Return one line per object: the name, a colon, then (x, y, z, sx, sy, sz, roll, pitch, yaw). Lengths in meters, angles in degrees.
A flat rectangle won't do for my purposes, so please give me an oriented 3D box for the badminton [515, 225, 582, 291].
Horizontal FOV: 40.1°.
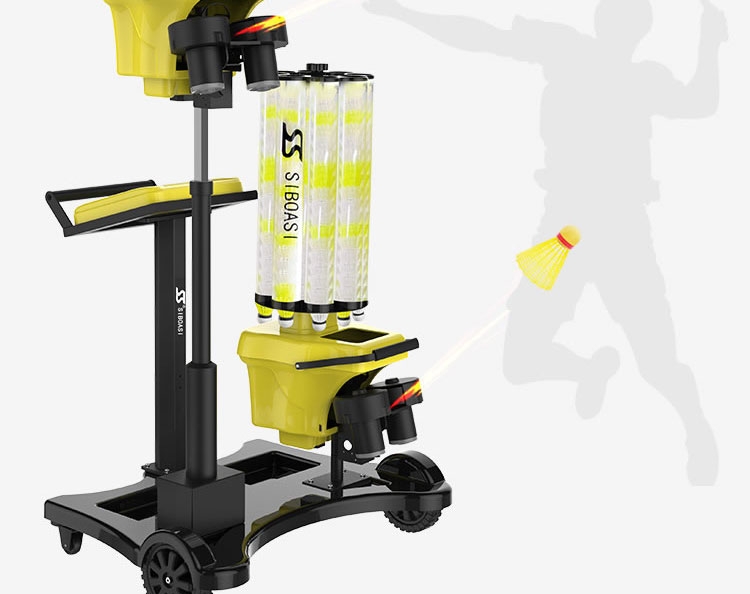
badminton: (0.591, -0.135, 3.478, 0.240, 0.159, 0.073, -45, -20, 7)
